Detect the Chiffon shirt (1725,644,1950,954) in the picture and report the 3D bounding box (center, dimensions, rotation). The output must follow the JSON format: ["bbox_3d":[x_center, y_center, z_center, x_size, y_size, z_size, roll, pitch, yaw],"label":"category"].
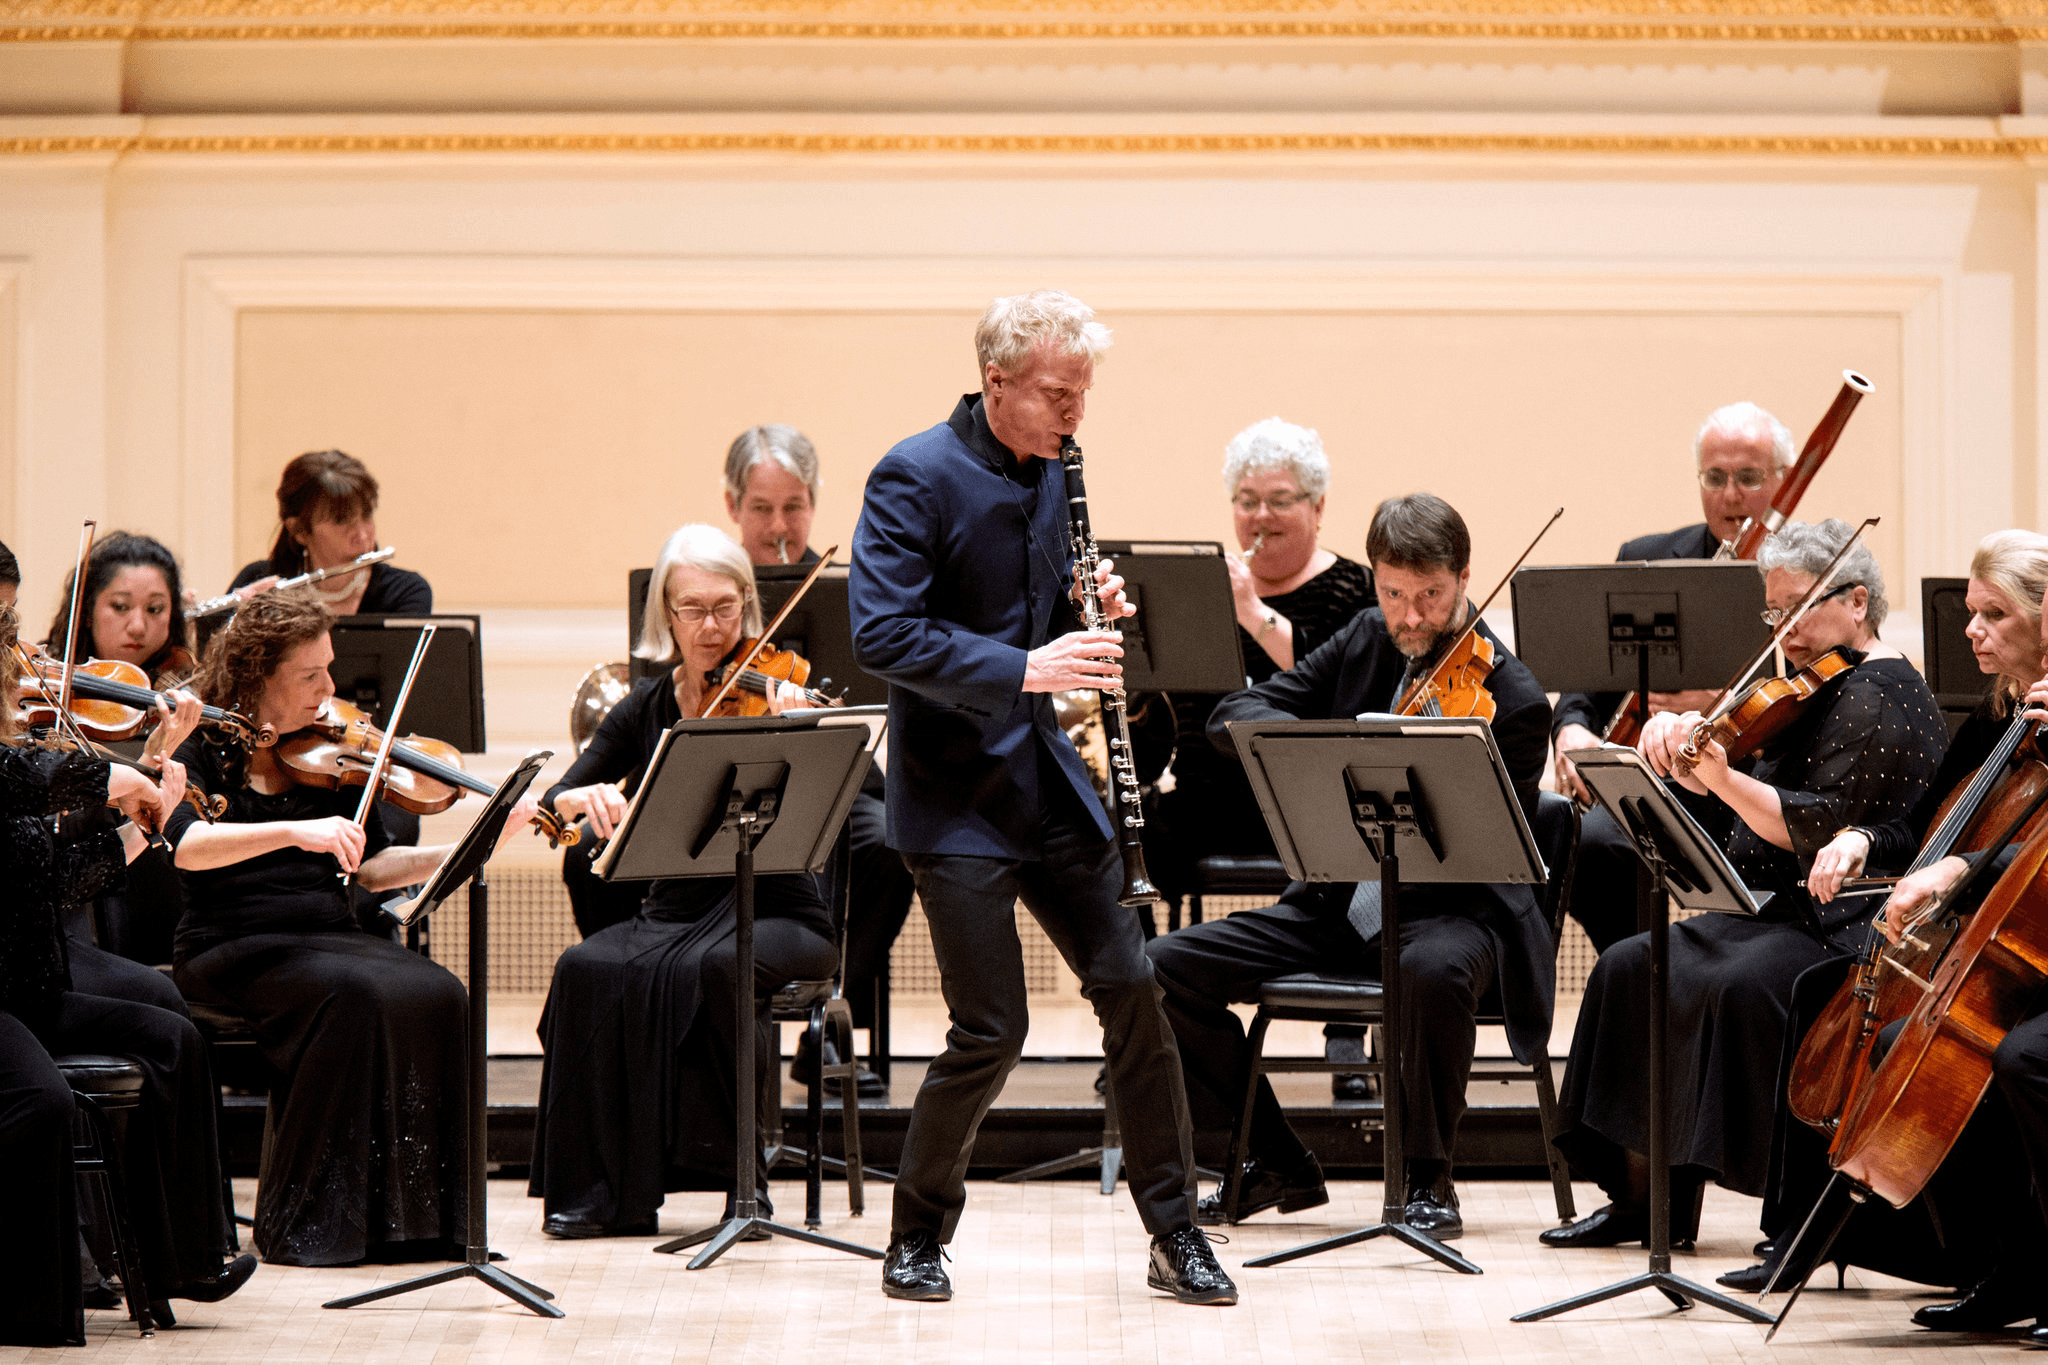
[{"bbox_3d":[1.886,0.200,4.790,0.193,0.654,0.499,38,3,-10],"label":"Chiffon shirt"}]

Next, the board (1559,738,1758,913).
[{"bbox_3d":[1.331,0.294,4.324,0.423,0.340,0.275,2,-3,-29],"label":"board"}]

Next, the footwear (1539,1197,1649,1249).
[{"bbox_3d":[1.355,1.258,4.905,0.285,0.101,0.095,1,-8,-3],"label":"footwear"}]

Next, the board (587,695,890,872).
[{"bbox_3d":[-0.629,0.241,4.531,0.568,0.379,0.562,-5,10,-8],"label":"board"}]

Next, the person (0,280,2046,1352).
[{"bbox_3d":[0.086,0.356,5.201,2.925,1.946,0.653,-3,-17,4],"label":"person"}]

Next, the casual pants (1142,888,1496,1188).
[{"bbox_3d":[0.739,0.884,5.315,0.711,0.897,0.741,0,-9,21],"label":"casual pants"}]

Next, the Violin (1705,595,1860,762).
[{"bbox_3d":[1.813,0.007,4.920,0.513,0.090,0.203,-23,-25,-42],"label":"Violin"}]

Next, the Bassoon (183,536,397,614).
[{"bbox_3d":[-2.088,-0.298,5.937,0.722,0.077,0.082,-22,-52,25],"label":"Bassoon"}]

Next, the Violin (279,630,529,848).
[{"bbox_3d":[-1.584,0.120,5.200,0.331,0.158,0.811,-24,34,-33],"label":"Violin"}]

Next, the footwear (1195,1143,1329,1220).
[{"bbox_3d":[0.539,1.223,5.184,0.399,0.187,0.133,-3,-4,-8],"label":"footwear"}]

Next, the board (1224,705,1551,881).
[{"bbox_3d":[0.835,0.233,4.595,0.466,0.124,0.355,-5,-51,24],"label":"board"}]

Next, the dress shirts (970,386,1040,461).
[{"bbox_3d":[-0.067,-0.553,4.471,0.163,0.060,0.122,38,3,20],"label":"dress shirts"}]

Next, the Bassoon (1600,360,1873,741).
[{"bbox_3d":[1.983,-0.355,5.708,0.220,1.302,0.252,25,-18,19],"label":"Bassoon"}]

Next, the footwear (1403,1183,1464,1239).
[{"bbox_3d":[0.957,1.229,4.891,0.122,0.128,0.329,-2,-14,9],"label":"footwear"}]

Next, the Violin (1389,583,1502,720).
[{"bbox_3d":[1.027,-0.044,5.000,0.103,0.181,0.338,35,22,4],"label":"Violin"}]

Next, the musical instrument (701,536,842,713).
[{"bbox_3d":[-0.655,-0.134,5.297,0.095,0.539,0.220,15,-37,37],"label":"musical instrument"}]

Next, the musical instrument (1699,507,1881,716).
[{"bbox_3d":[1.851,-0.148,5.014,0.091,0.605,0.068,33,5,-34],"label":"musical instrument"}]

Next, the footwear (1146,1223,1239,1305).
[{"bbox_3d":[0.356,1.242,4.521,0.099,0.106,0.245,1,-3,-28],"label":"footwear"}]
